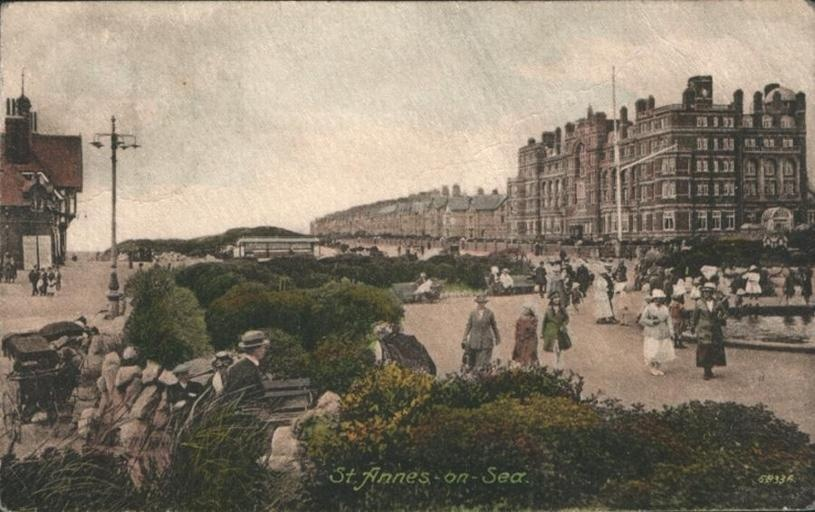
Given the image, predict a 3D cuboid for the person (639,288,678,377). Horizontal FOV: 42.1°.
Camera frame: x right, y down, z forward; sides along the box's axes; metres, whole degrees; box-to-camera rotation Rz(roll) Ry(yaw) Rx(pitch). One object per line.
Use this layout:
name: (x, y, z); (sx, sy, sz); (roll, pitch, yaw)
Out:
person: (5.480, 1.677, 23.220); (0.761, 1.874, 0.478); (0, -3, 12)

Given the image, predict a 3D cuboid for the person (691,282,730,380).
person: (6.618, 1.658, 23.250); (0.678, 2.088, 0.291); (-1, -3, 17)

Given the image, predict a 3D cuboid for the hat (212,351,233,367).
hat: (-3.986, 2.223, 22.670); (0.337, 0.093, 0.333); (-17, 26, -42)

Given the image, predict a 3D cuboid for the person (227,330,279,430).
person: (-3.359, 2.617, 22.582); (1.062, 1.999, 0.361); (1, -3, -9)

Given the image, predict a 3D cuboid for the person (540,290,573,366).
person: (3.253, 1.635, 23.300); (0.689, 1.654, 0.277); (0, -3, 1)

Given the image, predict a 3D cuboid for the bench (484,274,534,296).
bench: (2.312, 0.660, 23.695); (1.057, 0.435, 0.260); (1, -3, -18)

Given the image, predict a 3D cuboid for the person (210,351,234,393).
person: (-4.009, 2.468, 22.618); (0.399, 0.773, 0.469); (-2, -33, -18)

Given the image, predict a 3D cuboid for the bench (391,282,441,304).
bench: (0.199, 0.820, 23.390); (1.077, 0.444, 0.345); (0, -3, 3)

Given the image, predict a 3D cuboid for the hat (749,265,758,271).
hat: (7.762, 0.263, 23.768); (0.171, 0.128, 0.073); (-1, -3, 17)

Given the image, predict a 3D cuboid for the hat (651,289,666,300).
hat: (5.452, 0.830, 23.175); (0.275, 0.229, 0.286); (-1, -3, 20)
